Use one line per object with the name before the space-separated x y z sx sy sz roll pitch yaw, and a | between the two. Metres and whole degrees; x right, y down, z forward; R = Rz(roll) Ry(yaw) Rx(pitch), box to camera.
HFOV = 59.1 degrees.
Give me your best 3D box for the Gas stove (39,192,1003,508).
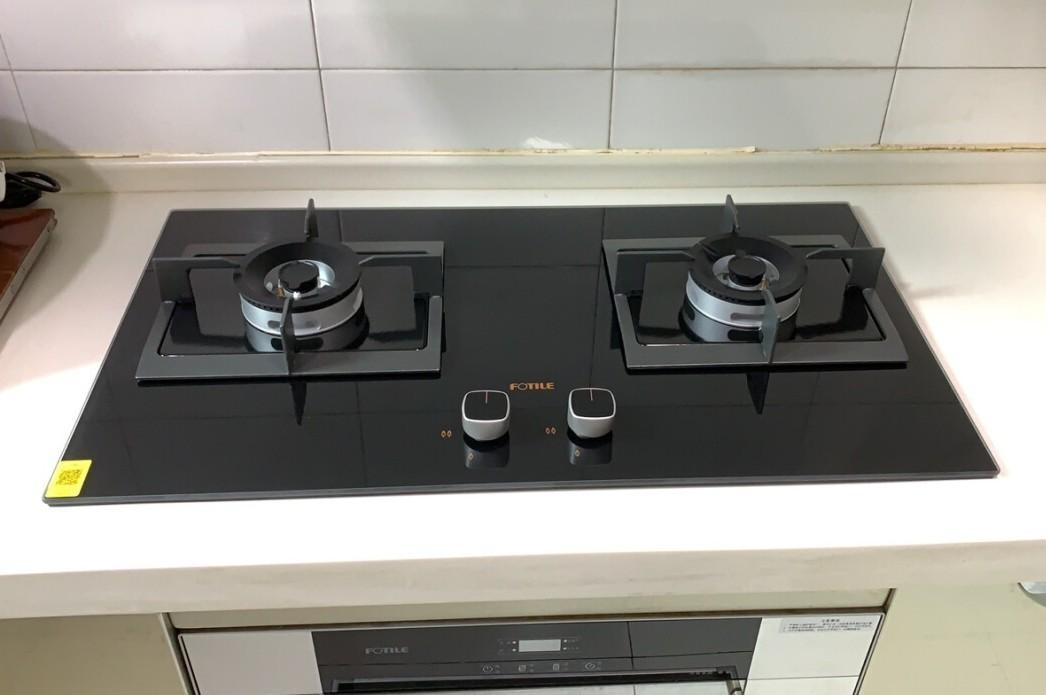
Gas stove | -0.002 -0.032 1.477 1.321 0.332 0.522 -2 16 -2
